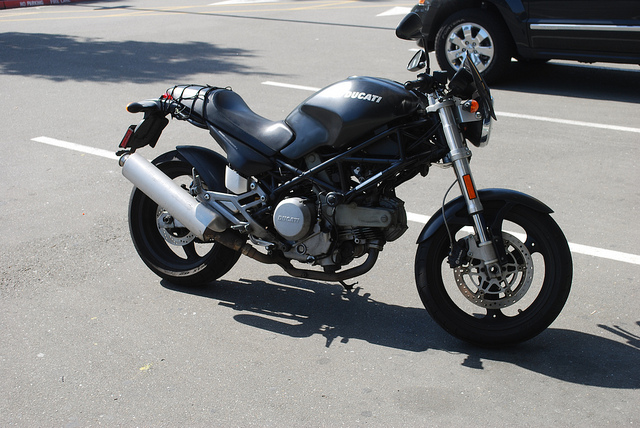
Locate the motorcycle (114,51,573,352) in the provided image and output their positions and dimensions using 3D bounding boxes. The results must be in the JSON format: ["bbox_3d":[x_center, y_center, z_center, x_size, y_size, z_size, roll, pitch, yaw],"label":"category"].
[{"bbox_3d":[0.053,-0.116,4.158,3.648,1.788,1.075,9,16,20],"label":"motorcycle"}]

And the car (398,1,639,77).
[{"bbox_3d":[3.211,-2.771,8.274,3.187,1.043,0.981,9,16,17],"label":"car"}]
